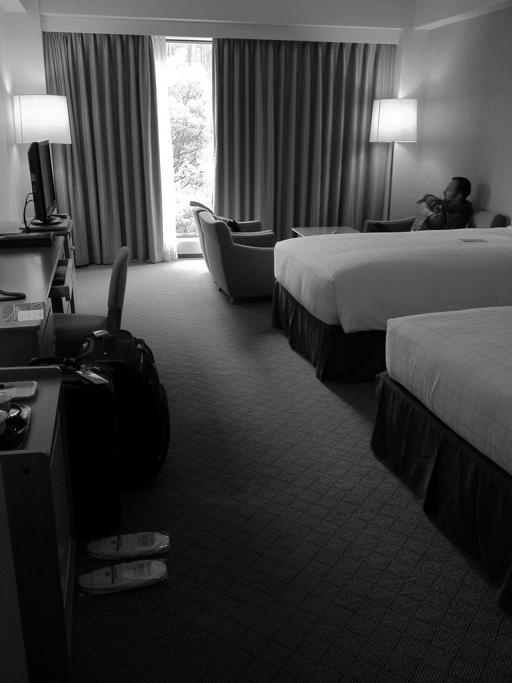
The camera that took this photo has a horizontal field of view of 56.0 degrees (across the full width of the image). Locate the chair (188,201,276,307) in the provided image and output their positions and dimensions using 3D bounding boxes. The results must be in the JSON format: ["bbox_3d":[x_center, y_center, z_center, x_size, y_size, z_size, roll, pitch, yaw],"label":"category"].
[{"bbox_3d":[-0.194,-0.871,4.821,0.843,0.921,0.896,-1,12,-7],"label":"chair"}]

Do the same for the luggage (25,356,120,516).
[{"bbox_3d":[-0.534,0.248,1.628,0.241,0.457,0.266,-9,26,-11],"label":"luggage"}]

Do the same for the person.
[{"bbox_3d":[1.998,-1.450,5.048,0.543,0.537,1.240,1,13,3],"label":"person"}]

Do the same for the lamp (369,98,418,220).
[{"bbox_3d":[1.721,-2.530,6.010,0.555,1.037,0.599,4,12,17],"label":"lamp"}]
